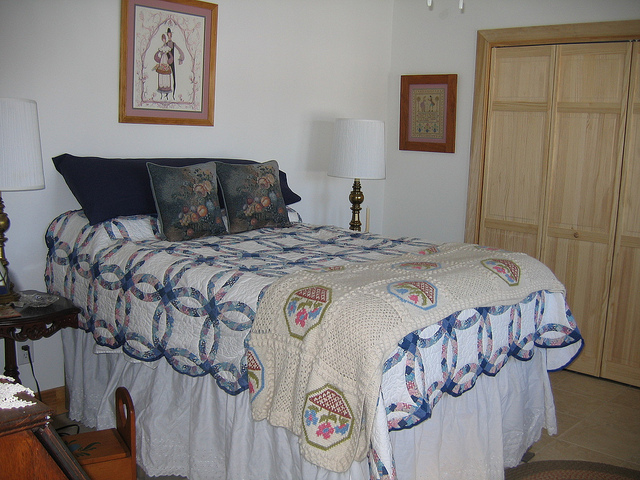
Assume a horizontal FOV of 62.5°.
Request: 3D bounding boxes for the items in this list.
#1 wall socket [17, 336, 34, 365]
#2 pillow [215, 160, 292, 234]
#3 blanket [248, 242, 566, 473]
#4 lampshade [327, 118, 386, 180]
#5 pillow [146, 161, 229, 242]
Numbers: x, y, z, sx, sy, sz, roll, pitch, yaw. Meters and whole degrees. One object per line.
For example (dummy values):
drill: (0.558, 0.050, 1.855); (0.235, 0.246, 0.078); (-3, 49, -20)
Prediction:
wall socket: (-1.668, 0.636, 3.000); (0.040, 0.144, 0.095); (4, 13, 14)
pillow: (-0.415, -0.261, 3.252); (0.130, 0.450, 0.442); (-16, -3, 40)
blanket: (0.308, 0.465, 2.228); (1.171, 0.591, 0.613); (-5, 14, -27)
lampshade: (0.266, -0.678, 3.957); (0.385, 0.425, 0.428); (0, 11, -2)
pillow: (-0.741, -0.226, 3.021); (0.428, 0.418, 0.215); (-12, 22, -42)
